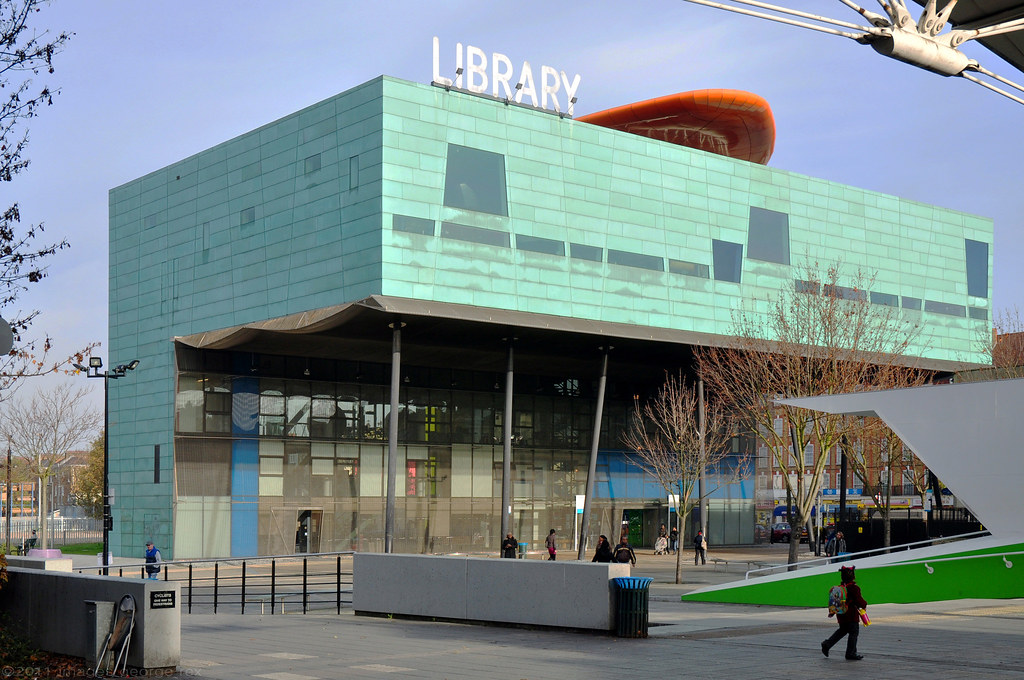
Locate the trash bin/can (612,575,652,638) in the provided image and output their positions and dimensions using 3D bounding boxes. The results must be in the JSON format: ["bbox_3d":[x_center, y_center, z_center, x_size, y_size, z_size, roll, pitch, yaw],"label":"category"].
[{"bbox_3d":[3.254,7.018,30.215,1.383,1.645,1.383,-4,-7,23],"label":"trash bin/can"}]

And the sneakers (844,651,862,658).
[{"bbox_3d":[7.838,7.273,26.256,0.513,0.150,0.228,10,-17,-43],"label":"sneakers"}]

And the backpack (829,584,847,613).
[{"bbox_3d":[7.512,6.042,26.513,0.292,0.639,0.384,2,-13,-19],"label":"backpack"}]
